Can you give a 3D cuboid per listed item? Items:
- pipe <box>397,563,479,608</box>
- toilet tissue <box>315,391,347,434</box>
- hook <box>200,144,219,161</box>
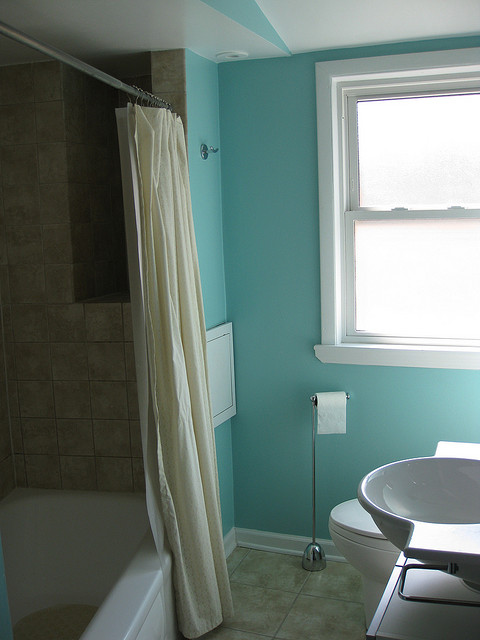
[{"bbox_3d":[0.348,0.457,0.930,0.124,0.010,0.078,-1,23,20],"label":"pipe"},{"bbox_3d":[0.382,0.387,2.248,0.146,0.166,0.083,-1,14,1],"label":"toilet tissue"},{"bbox_3d":[-0.130,-0.684,2.232,0.060,0.086,0.059,3,4,26],"label":"hook"}]
